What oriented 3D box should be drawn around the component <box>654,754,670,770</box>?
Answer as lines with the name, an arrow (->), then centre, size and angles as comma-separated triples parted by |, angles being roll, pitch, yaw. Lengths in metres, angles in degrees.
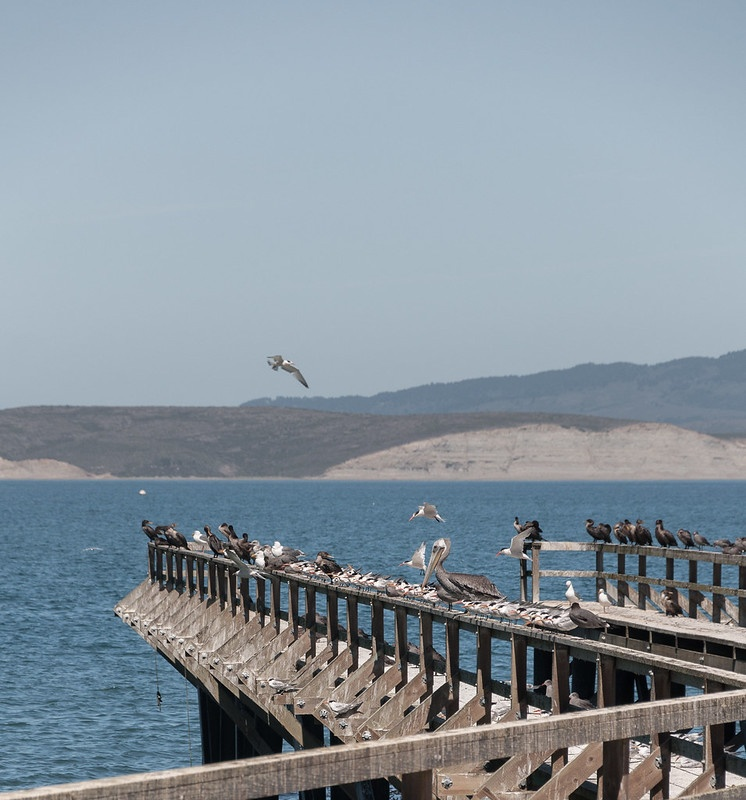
component -> 5.313, 6.801, 38.288 | 0.292, 0.078, 0.286 | -21, 18, -37

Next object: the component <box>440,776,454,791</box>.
component -> 1.394, 7.734, 40.960 | 0.235, 0.238, 0.241 | -3, -1, 35

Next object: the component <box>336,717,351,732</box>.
component -> -0.716, 7.154, 44.523 | 0.409, 0.227, 0.394 | 4, -13, 4

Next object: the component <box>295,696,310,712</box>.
component -> -1.690, 6.894, 45.989 | 0.336, 0.329, 0.184 | 5, 18, 1

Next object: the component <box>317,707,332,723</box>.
component -> -1.152, 7.049, 45.339 | 0.107, 0.330, 0.247 | -27, 12, -41
